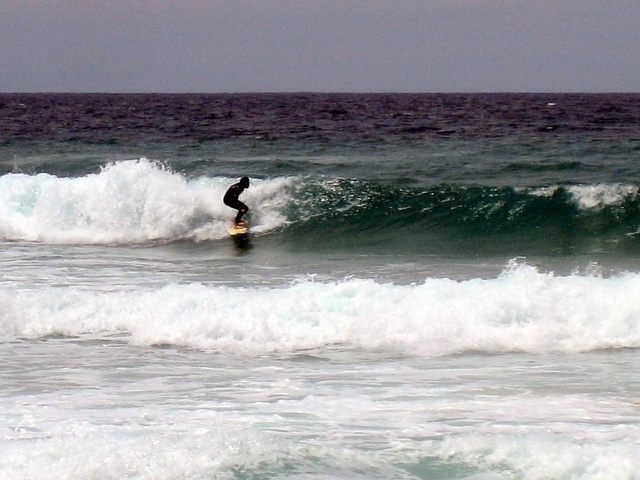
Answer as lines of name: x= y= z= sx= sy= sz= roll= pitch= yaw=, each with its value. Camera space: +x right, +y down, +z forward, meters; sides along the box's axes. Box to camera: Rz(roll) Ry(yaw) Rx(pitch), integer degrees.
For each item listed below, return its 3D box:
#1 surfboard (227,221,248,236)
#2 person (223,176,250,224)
surfboard: x=-1.722 y=-0.239 z=23.593 sx=0.478 sy=0.327 sz=1.053 roll=1 pitch=-3 yaw=-8
person: x=-1.742 y=-0.821 z=23.639 sx=0.521 sy=0.982 sz=0.868 roll=-4 pitch=7 yaw=-5
